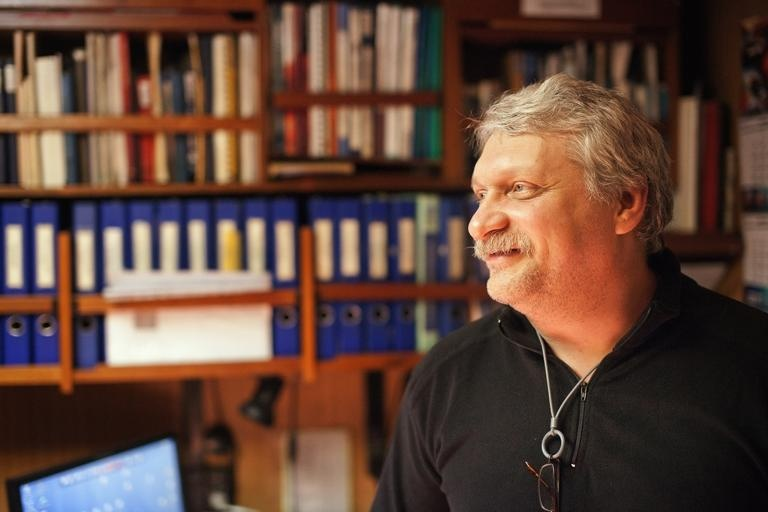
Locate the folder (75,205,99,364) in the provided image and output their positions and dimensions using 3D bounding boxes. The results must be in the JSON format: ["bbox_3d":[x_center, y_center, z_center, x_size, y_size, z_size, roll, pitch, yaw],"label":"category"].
[{"bbox_3d":[-0.958,0.091,3.464,0.092,0.503,0.132,2,-11,-10],"label":"folder"}]

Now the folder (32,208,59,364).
[{"bbox_3d":[-1.085,0.087,3.449,0.081,0.494,0.126,1,-11,-2],"label":"folder"}]

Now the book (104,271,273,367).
[{"bbox_3d":[-0.633,0.201,3.495,0.530,0.292,0.085,1,-11,-5],"label":"book"}]

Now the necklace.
[{"bbox_3d":[0.583,0.357,2.932,0.314,0.435,0.035,7,-2,28],"label":"necklace"}]

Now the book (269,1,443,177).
[{"bbox_3d":[-0.115,-0.576,3.611,0.504,0.547,0.171,0,5,1],"label":"book"}]

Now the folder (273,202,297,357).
[{"bbox_3d":[-0.324,0.071,3.526,0.094,0.491,0.137,1,-11,-4],"label":"folder"}]
